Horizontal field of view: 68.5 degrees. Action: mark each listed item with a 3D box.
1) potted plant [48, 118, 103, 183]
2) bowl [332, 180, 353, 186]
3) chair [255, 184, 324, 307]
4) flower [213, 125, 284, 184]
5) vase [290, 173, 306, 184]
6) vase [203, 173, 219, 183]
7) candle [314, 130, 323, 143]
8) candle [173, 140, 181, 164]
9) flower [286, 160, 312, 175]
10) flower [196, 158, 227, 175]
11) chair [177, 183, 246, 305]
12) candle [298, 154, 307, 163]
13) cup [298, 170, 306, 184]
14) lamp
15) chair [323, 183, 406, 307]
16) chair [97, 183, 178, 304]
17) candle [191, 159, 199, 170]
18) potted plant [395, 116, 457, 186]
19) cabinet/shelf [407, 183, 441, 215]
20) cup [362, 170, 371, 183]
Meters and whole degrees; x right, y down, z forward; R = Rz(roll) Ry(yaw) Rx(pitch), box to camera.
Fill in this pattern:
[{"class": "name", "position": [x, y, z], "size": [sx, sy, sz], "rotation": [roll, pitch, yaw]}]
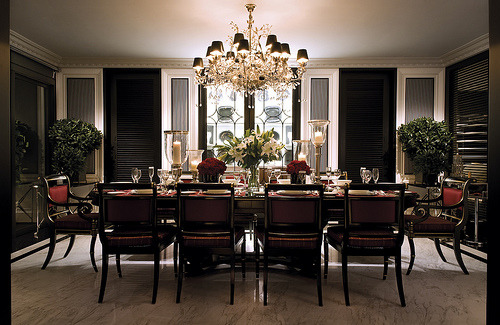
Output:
[{"class": "potted plant", "position": [-2.992, -0.196, 6.690], "size": [1.153, 1.296, 0.973], "rotation": [1, 2, 30]}, {"class": "bowl", "position": [1.221, 0.272, 5.042], "size": [0.182, 0.050, 0.183], "rotation": [-2, 2, 0]}, {"class": "chair", "position": [0.473, 0.917, 4.444], "size": [0.853, 1.386, 0.712], "rotation": [-1, 2, 1]}, {"class": "flower", "position": [-0.075, -0.166, 4.922], "size": [0.759, 0.740, 0.836], "rotation": [0, 1, -29]}, {"class": "vase", "position": [0.586, 0.181, 4.607], "size": [0.220, 0.160, 0.122], "rotation": [0, -6, 4]}, {"class": "vase", "position": [-0.499, 0.183, 4.693], "size": [0.132, 0.115, 0.130], "rotation": [0, 2, -39]}, {"class": "candle", "position": [0.910, -0.350, 4.998], "size": [0.142, 0.167, 0.145], "rotation": [0, -5, -1]}, {"class": "candle", "position": [-0.994, -0.133, 4.956], "size": [0.117, 0.324, 0.109], "rotation": [-2, 2, -11]}, {"class": "flower", "position": [0.615, 0.061, 4.685], "size": [0.262, 0.179, 0.282], "rotation": [0, 3, 35]}, {"class": "flower", "position": [-0.491, 0.052, 4.646], "size": [0.240, 0.174, 0.256], "rotation": [1, -3, 2]}, {"class": "chair", "position": [-0.468, 0.906, 4.409], "size": [0.807, 1.396, 0.569], "rotation": [-2, 2, -2]}, {"class": "candle", "position": [0.691, -0.059, 4.906], "size": [0.100, 0.108, 0.109], "rotation": [2, 7, 13]}, {"class": "cup", "position": [0.645, 0.178, 4.592], "size": [0.092, 0.164, 0.164], "rotation": [-1, 2, 7]}, {"class": "lamp", "position": [0.023, -1.437, 5.630], "size": [1.451, 1.112, 1.498], "rotation": [0, -3, 3]}, {"class": "chair", "position": [1.400, 0.889, 4.553], "size": [0.819, 1.364, 0.892], "rotation": [1, 2, 5]}, {"class": "chair", "position": [-1.524, 0.864, 4.622], "size": [0.864, 1.442, 0.963], "rotation": [2, 9, -2]}, {"class": "candle", "position": [-0.763, 0.024, 5.018], "size": [0.127, 0.153, 0.131], "rotation": [3, 5, 12]}, {"class": "potted plant", "position": [3.116, -0.171, 6.845], "size": [1.184, 1.466, 1.068], "rotation": [0, -2, -8]}, {"class": "cabinet/shelf", "position": [2.629, 0.543, 5.532], "size": [0.314, 0.384, 0.595], "rotation": [0, 0, -2]}, {"class": "cup", "position": [1.479, 0.171, 4.709], "size": [0.100, 0.167, 0.372], "rotation": [-1, 2, 17]}]
